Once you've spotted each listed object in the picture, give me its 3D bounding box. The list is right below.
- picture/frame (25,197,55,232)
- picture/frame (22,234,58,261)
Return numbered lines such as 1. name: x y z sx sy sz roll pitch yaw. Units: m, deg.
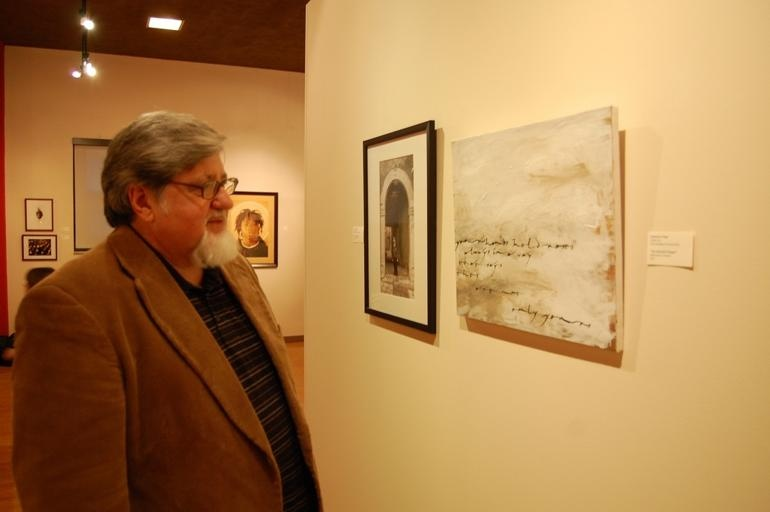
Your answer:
1. picture/frame: -4.360 -0.533 6.765 0.391 0.587 0.056 0 -1 -28
2. picture/frame: -4.383 -0.117 6.796 0.304 0.316 0.024 0 0 -22
